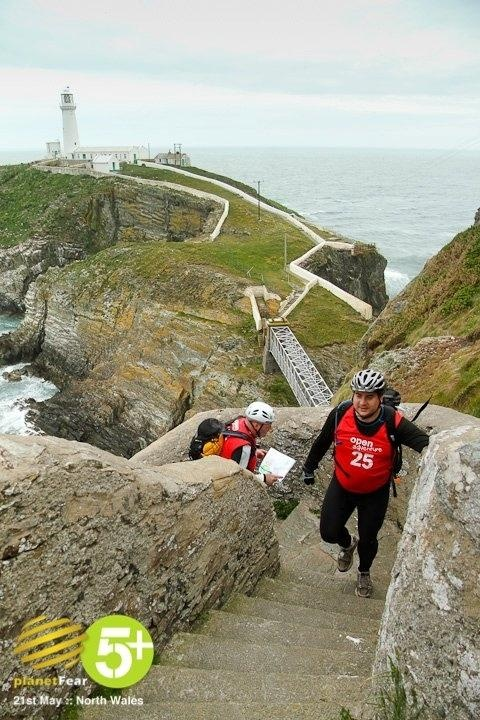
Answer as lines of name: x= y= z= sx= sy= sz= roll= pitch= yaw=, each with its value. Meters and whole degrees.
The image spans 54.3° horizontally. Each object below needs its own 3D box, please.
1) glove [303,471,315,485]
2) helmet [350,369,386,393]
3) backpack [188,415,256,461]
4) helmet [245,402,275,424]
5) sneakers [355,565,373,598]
glove: x=0.705 y=1.219 z=4.836 sx=0.101 sy=0.122 sz=0.294 roll=-2 pitch=-10 yaw=4
helmet: x=1.021 y=0.171 z=3.754 sx=0.256 sy=0.200 sz=0.163 roll=6 pitch=-9 yaw=13
backpack: x=-0.164 y=0.810 z=4.577 sx=0.525 sy=0.466 sz=0.398 roll=31 pitch=13 yaw=-5
helmet: x=0.182 y=0.544 z=4.629 sx=0.261 sy=0.200 sz=0.196 roll=0 pitch=26 yaw=3
sneakers: x=1.173 y=2.117 z=4.441 sx=0.117 sy=0.162 sz=0.270 roll=-2 pitch=4 yaw=11
